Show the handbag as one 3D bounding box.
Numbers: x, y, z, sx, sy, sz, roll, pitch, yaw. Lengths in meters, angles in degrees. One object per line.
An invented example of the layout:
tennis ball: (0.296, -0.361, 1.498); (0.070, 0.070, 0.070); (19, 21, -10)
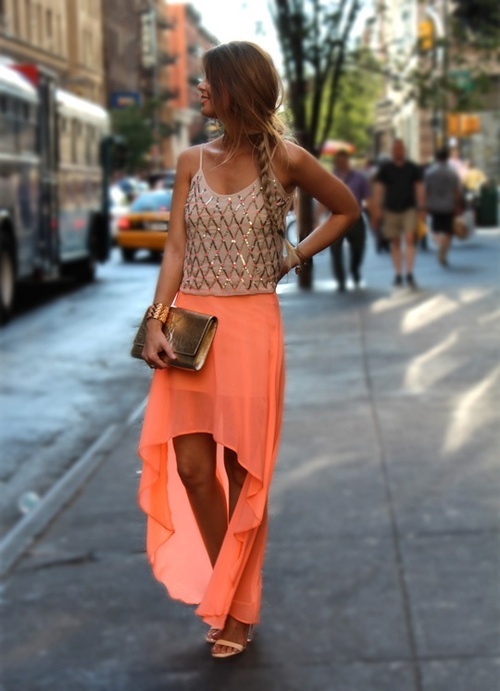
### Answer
handbag: (-0.171, -0.014, 1.789); (0.227, 0.171, 0.053); (16, -3, 35)

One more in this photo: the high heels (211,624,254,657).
high heels: (-0.045, 0.797, 1.925); (0.050, 0.053, 0.146); (-4, -7, 18)

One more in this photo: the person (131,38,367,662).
person: (-0.032, 0.033, 1.978); (0.714, 1.603, 0.386); (-7, 6, 8)

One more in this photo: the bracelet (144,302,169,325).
bracelet: (-0.239, -0.085, 1.860); (0.050, 0.052, 0.064); (19, -7, -25)
